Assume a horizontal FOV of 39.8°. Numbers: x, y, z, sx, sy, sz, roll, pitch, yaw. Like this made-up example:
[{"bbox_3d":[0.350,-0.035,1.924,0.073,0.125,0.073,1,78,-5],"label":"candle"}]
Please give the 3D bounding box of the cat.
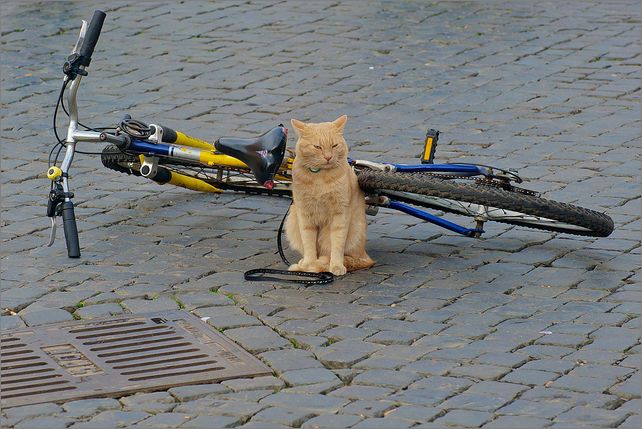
[{"bbox_3d":[0.072,-0.184,8.642,0.871,1.566,0.912,-2,25,-2],"label":"cat"}]
